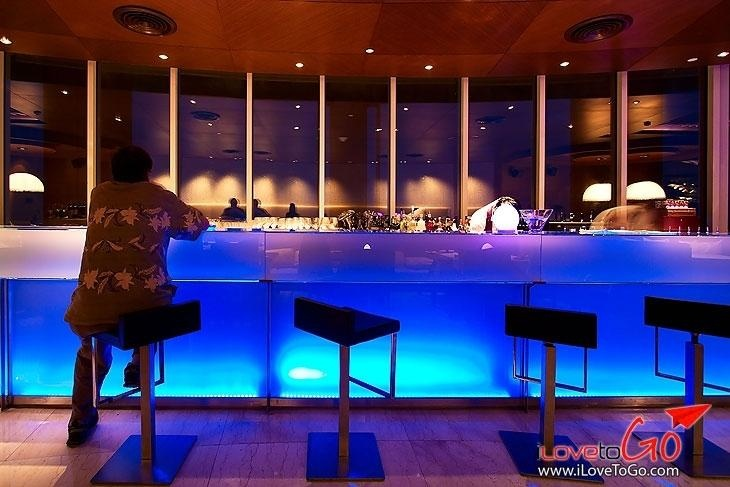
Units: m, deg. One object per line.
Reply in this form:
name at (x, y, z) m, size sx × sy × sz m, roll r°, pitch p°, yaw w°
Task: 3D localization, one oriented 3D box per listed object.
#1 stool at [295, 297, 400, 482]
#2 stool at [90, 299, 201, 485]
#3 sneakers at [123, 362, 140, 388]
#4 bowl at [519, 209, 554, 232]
stool at (-0.148, 1.226, 5.425) m, size 0.906 × 1.544 × 0.566 m, roll -2°, pitch 2°, yaw -3°
stool at (-1.892, 1.261, 5.392) m, size 0.938 × 1.515 × 0.527 m, roll -2°, pitch 2°, yaw -15°
sneakers at (-2.092, 1.179, 5.572) m, size 0.113 × 0.131 × 0.298 m, roll 0°, pitch 2°, yaw -10°
bowl at (1.656, -0.258, 6.064) m, size 0.274 × 0.172 × 0.257 m, roll 1°, pitch 5°, yaw 0°
